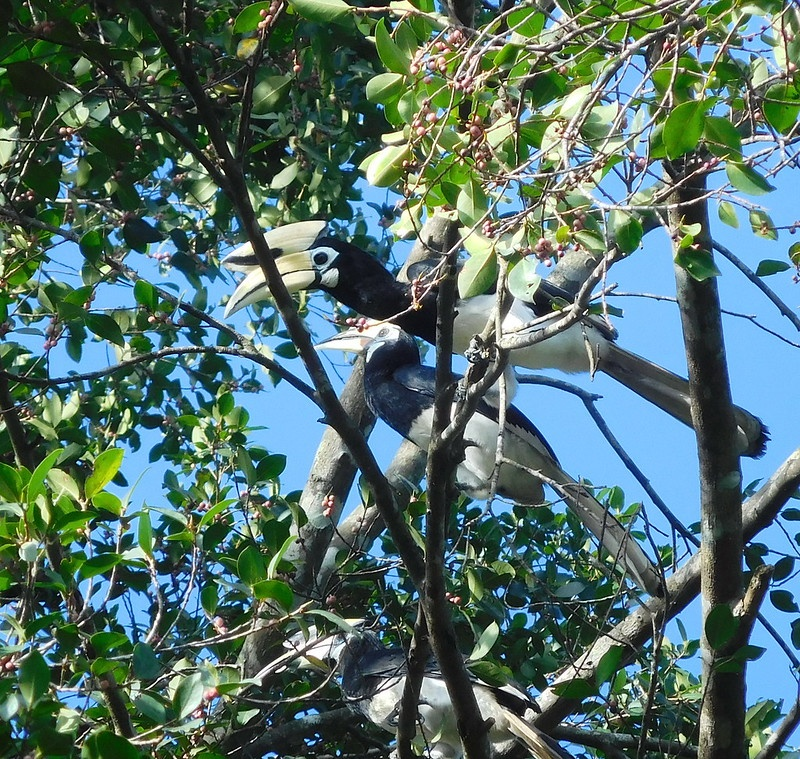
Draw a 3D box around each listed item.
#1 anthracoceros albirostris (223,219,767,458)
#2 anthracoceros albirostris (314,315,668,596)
[{"bbox_3d":[0.144,-0.201,5.164,1.378,0.342,0.481,4,-54,-18],"label":"anthracoceros albirostris"},{"bbox_3d":[0.170,0.155,4.937,0.457,0.307,1.006,12,-27,-17],"label":"anthracoceros albirostris"}]
